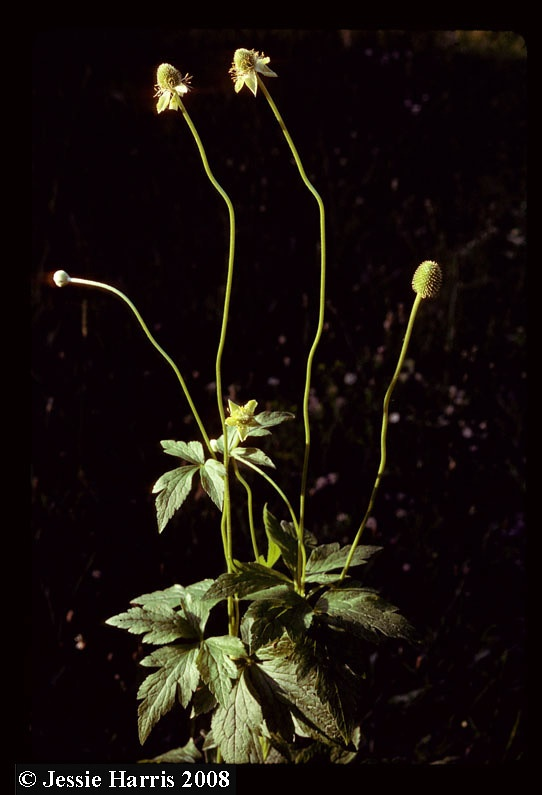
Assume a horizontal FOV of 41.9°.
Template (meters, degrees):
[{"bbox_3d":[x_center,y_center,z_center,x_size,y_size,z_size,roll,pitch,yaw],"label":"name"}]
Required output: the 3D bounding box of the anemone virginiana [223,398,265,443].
[{"bbox_3d":[-0.043,0.034,1.145,0.057,0.091,0.081,4,30,-1],"label":"anemone virginiana"}]
